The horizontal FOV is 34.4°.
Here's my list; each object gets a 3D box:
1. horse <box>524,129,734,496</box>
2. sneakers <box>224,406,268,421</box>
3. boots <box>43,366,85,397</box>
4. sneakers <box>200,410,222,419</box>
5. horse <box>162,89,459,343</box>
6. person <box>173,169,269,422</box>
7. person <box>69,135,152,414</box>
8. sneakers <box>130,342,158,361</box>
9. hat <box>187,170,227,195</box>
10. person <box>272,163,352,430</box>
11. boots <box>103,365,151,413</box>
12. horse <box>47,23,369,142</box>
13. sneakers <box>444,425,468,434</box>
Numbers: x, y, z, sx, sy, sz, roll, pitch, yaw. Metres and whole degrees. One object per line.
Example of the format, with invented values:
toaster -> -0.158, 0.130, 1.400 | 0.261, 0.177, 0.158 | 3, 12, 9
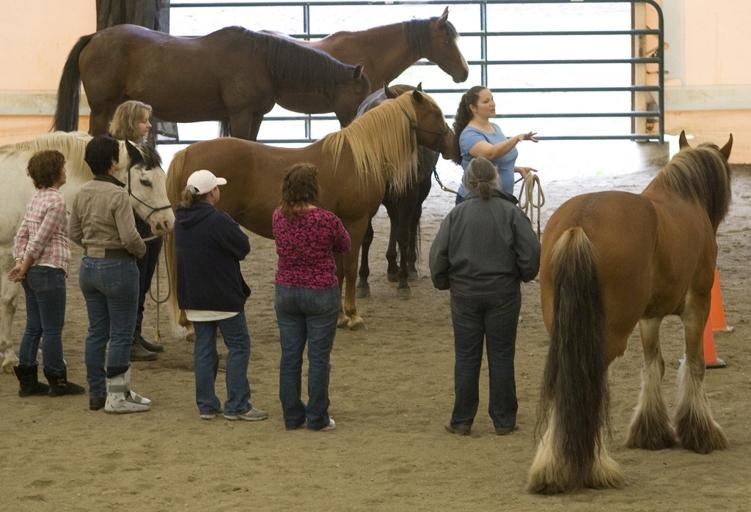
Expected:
horse -> 2.443, 0.384, 11.104 | 0.946, 2.982, 3.757 | 0, 1, 35
sneakers -> -1.167, 1.389, 10.883 | 0.359, 0.169, 0.144 | -3, 6, -7
boots -> -2.897, 1.170, 11.313 | 0.446, 0.302, 0.171 | -5, 10, -32
sneakers -> -1.489, 1.415, 10.887 | 0.152, 0.067, 0.087 | 6, -5, -22
horse -> -0.656, -0.368, 12.214 | 2.943, 2.377, 0.875 | -1, 3, -9
person -> -1.423, 0.358, 10.859 | 0.752, 2.237, 0.327 | -1, 6, -6
person -> -2.419, 0.167, 10.952 | 0.716, 2.492, 0.365 | 2, 7, 20
sneakers -> -2.262, 0.956, 11.967 | 0.330, 0.205, 0.117 | 0, 0, -4
hat -> -1.528, -0.645, 10.877 | 0.210, 0.169, 0.321 | 11, 26, 35
person -> -0.596, 0.365, 10.772 | 0.558, 2.359, 0.408 | -4, 7, -34
boots -> -2.211, 1.233, 11.106 | 0.548, 0.512, 0.246 | -2, 9, -17
horse -> -1.922, -1.736, 13.919 | 3.805, 1.835, 0.908 | 5, 19, 9
sneakers -> 0.719, 1.548, 10.750 | 0.178, 0.074, 0.073 | 7, 2, 24
